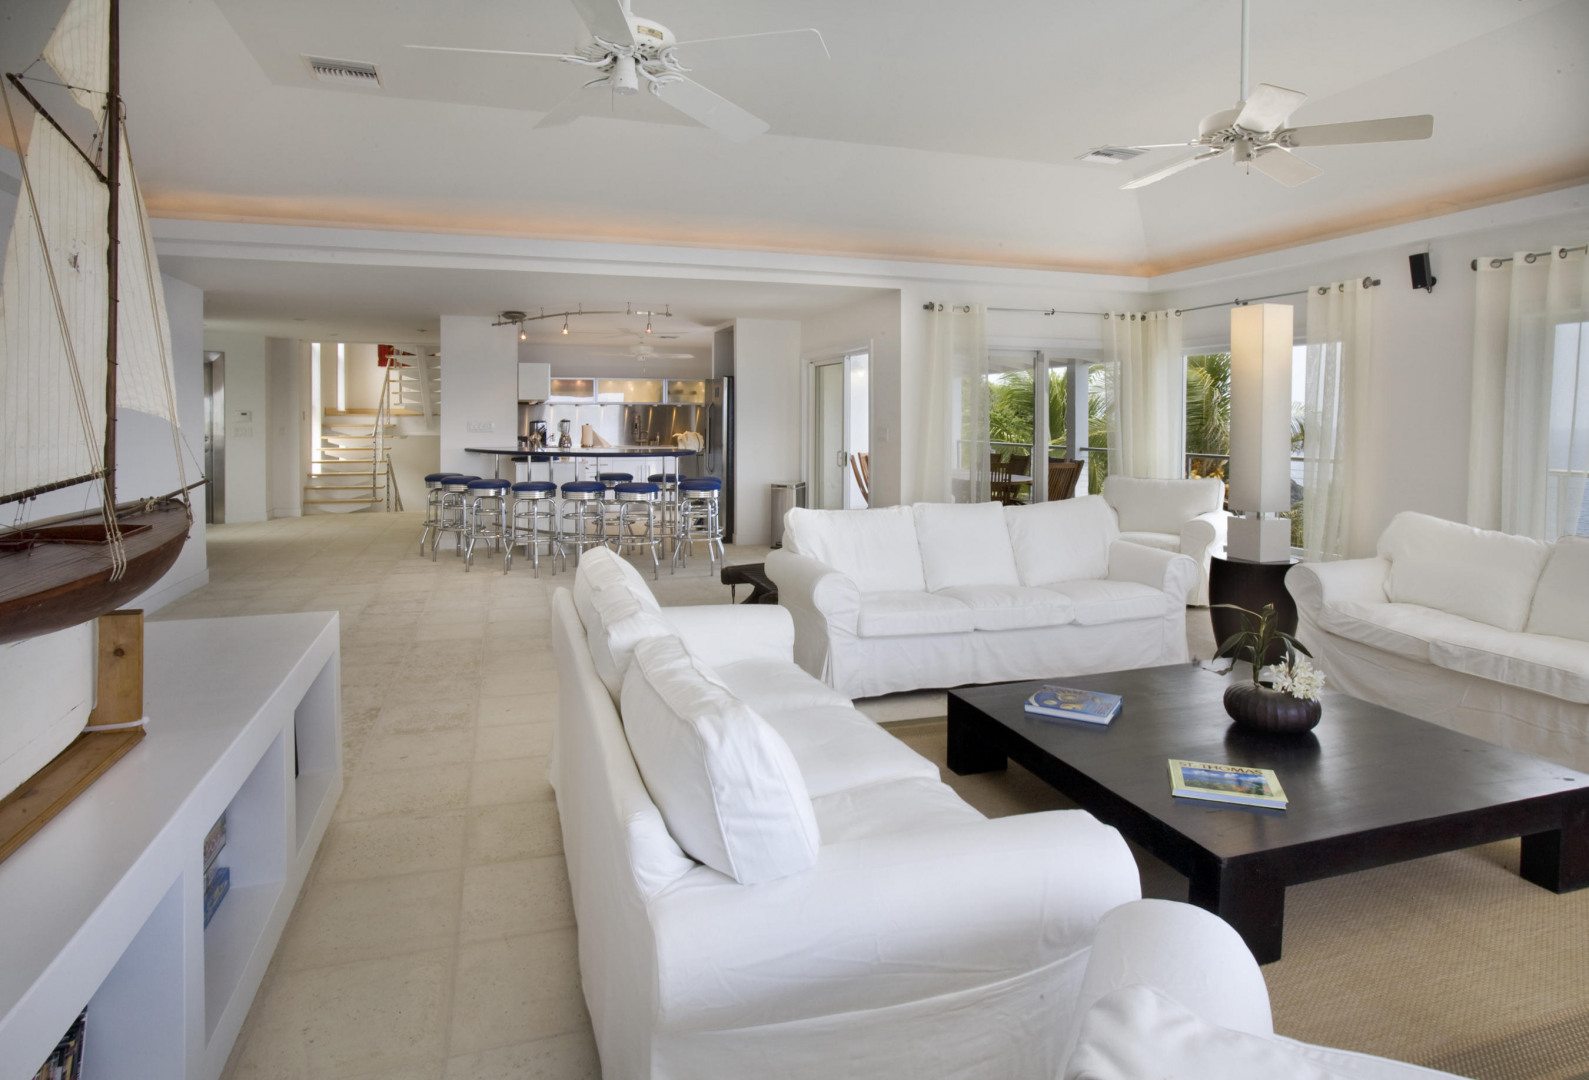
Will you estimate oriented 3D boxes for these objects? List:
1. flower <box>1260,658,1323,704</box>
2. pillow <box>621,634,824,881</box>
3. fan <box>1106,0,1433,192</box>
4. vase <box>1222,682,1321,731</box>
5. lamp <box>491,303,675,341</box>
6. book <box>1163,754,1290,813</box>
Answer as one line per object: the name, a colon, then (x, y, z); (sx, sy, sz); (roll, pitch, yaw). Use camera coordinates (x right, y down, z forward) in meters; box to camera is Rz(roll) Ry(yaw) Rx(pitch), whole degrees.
flower: (1.978, 0.554, 3.948); (0.183, 0.104, 0.178); (-6, 12, -26)
pillow: (-0.236, 0.601, 2.724); (0.346, 0.479, 0.654); (-5, 9, -30)
fan: (2.630, -2.509, 5.523); (1.019, 0.990, 0.934); (12, 21, 36)
vase: (1.868, 0.639, 3.940); (0.227, 0.106, 0.224); (0, -2, -19)
lamp: (-2.342, -2.405, 10.977); (2.659, 0.398, 0.350); (6, 15, 29)
book: (1.532, 0.865, 3.550); (0.399, 0.079, 0.304); (1, 7, 13)
